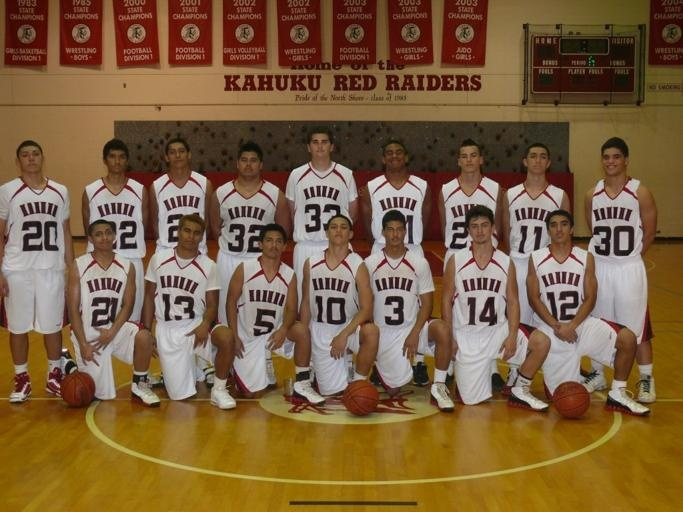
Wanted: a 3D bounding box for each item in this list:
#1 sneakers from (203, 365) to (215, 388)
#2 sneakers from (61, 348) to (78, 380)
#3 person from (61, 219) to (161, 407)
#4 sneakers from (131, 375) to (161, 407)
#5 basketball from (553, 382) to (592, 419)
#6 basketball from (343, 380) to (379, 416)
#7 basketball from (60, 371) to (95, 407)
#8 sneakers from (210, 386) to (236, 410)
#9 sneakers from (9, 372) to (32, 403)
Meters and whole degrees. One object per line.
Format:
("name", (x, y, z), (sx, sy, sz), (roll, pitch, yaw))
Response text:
("sneakers", (-1.148, 1.042, 5.649), (0.079, 0.118, 0.256), (0, 3, -6))
("sneakers", (-2.395, 0.936, 5.758), (0.142, 0.214, 0.455), (1, -4, -14))
("person", (-1.837, 0.440, 5.099), (0.709, 1.415, 0.433), (-2, 6, -6))
("sneakers", (-1.532, 1.041, 5.093), (0.288, 0.218, 0.125), (5, 9, 40))
("basketball", (1.687, 1.071, 4.762), (0.212, 0.251, 0.231), (-3, -23, 23))
("basketball", (0.141, 1.036, 4.734), (0.220, 0.268, 0.250), (0, 5, -3))
("basketball", (-2.051, 1.019, 5.023), (0.247, 0.283, 0.274), (-4, 41, -22))
("sneakers", (-0.921, 1.100, 5.011), (0.094, 0.123, 0.250), (-1, -1, -32))
("sneakers", (-2.561, 1.046, 5.132), (0.099, 0.208, 0.306), (-2, -6, -2))
